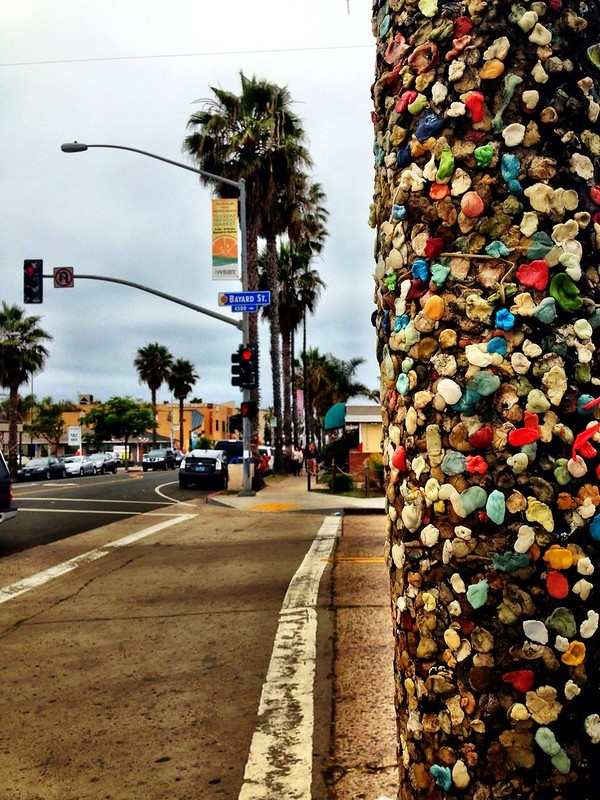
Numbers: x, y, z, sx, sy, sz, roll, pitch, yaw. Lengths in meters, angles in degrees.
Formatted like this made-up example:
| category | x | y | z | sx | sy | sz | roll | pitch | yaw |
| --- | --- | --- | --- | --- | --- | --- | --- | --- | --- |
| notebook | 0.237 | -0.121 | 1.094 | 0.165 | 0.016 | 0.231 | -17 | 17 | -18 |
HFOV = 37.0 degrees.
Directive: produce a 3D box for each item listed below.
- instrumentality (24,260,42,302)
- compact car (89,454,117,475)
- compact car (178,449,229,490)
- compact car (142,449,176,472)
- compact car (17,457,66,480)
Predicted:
| category | x | y | z | sx | sy | sz | roll | pitch | yaw |
| --- | --- | --- | --- | --- | --- | --- | --- | --- | --- |
| instrumentality | -5.198 | -2.324 | 17.488 | 0.352 | 0.890 | 1.576 | -4 | -1 | -17 |
| compact car | -9.965 | 3.162 | 45.260 | 0.845 | 0.671 | 1.525 | -4 | -12 | 7 |
| compact car | -2.622 | 1.917 | 24.232 | 1.322 | 1.015 | 1.946 | -4 | -1 | -7 |
| compact car | -7.679 | 3.286 | 49.035 | 1.368 | 1.135 | 4.135 | -4 | -1 | -1 |
| compact car | -10.650 | 2.847 | 37.035 | 1.153 | 0.861 | 2.324 | -5 | -1 | 16 |
